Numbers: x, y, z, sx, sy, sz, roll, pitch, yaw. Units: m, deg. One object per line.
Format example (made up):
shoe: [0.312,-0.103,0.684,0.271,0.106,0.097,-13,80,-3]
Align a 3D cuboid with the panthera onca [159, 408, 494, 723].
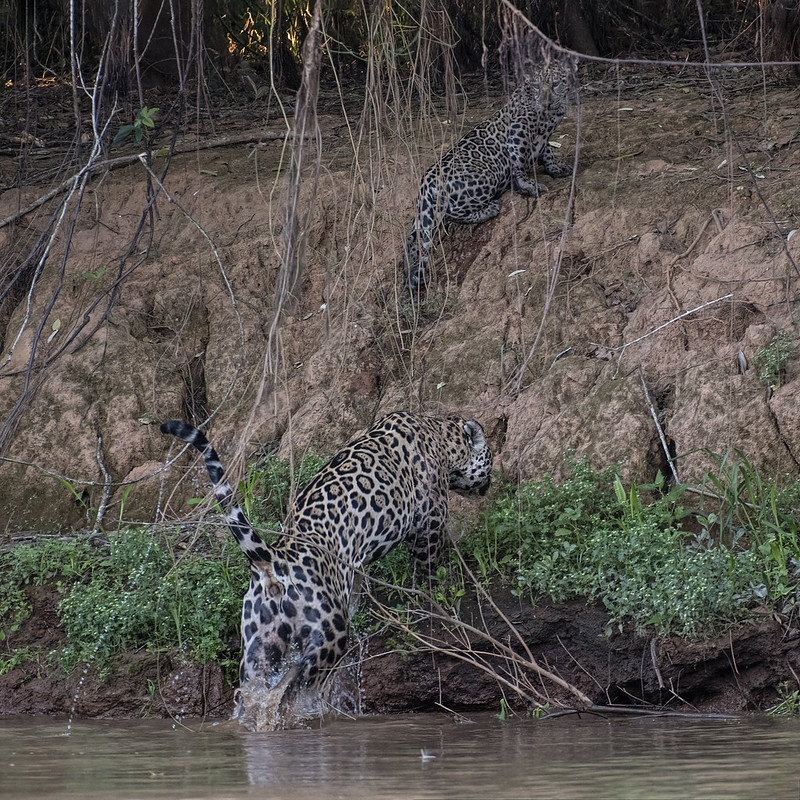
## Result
panthera onca: [-0.236,0.764,6.366,0.576,1.867,2.762,0,13,32]
